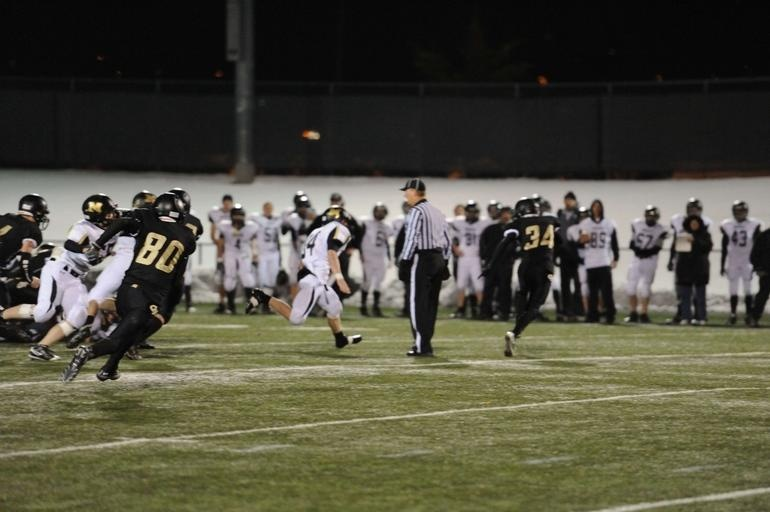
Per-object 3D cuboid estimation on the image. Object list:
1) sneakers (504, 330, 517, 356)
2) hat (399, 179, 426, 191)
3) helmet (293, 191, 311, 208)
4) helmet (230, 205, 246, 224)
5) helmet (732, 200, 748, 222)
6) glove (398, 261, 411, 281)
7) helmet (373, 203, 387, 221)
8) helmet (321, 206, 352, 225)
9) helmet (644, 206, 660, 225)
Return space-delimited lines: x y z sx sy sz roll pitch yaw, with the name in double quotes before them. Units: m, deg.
"sneakers" 1.814 1.260 14.548 0.180 0.358 0.189 0 -1 13
"hat" 0.390 -1.076 15.026 0.376 0.163 0.245 6 6 14
"helmet" -1.696 -1.149 20.697 0.237 0.326 0.368 -5 15 -21
"helmet" -3.157 -0.900 21.591 0.279 0.387 0.353 -3 15 -14
"helmet" 7.048 -0.894 19.941 0.399 0.411 0.504 3 0 29
"glove" 0.302 0.213 15.023 0.185 0.408 0.338 1 15 0
"helmet" -0.099 -0.953 21.859 0.251 0.386 0.542 0 14 -3
"helmet" -0.762 -0.646 15.598 0.395 0.343 0.323 7 -2 -43
"helmet" 5.311 -0.818 20.228 0.362 0.351 0.432 0 -2 28
